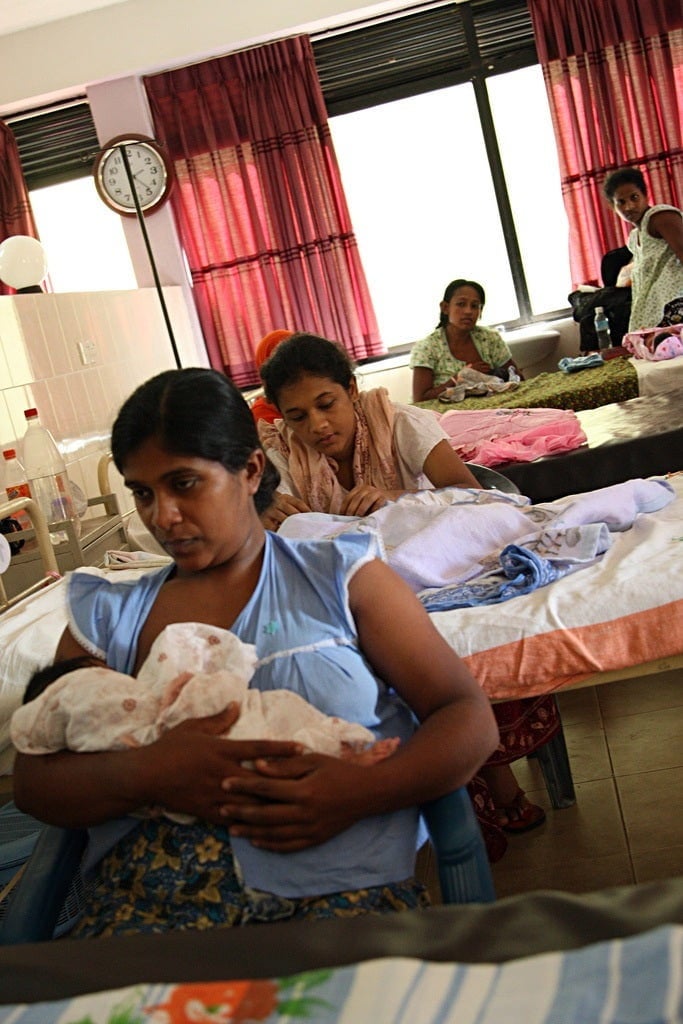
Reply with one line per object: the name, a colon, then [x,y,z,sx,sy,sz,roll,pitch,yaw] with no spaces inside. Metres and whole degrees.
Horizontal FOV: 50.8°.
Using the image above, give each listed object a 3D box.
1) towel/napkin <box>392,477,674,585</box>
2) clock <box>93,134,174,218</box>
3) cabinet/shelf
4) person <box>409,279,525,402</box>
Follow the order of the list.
towel/napkin: [0.369,0.031,1.391,0.392,0.055,0.245,-14,16,12]
clock: [-1.448,-2.256,4.826,0.501,0.355,0.273,-15,13,12]
cabinet/shelf: [-0.760,0.097,1.917,0.131,0.147,0.292,10,23,26]
person: [0.774,-0.969,4.373,0.722,0.811,0.500,-8,11,8]
